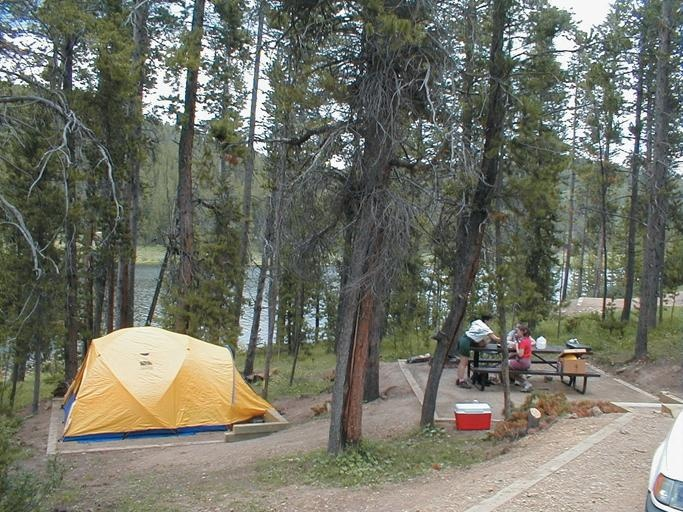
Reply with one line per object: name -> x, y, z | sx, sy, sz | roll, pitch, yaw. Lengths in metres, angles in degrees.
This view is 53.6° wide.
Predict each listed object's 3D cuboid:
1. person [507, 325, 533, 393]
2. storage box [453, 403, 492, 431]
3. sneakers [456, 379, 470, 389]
person -> 5.318, 2.989, 20.029 | 0.657, 1.915, 0.920 | 1, -3, 15
storage box -> 3.396, 4.163, 17.635 | 0.719, 0.598, 0.654 | 0, -1, 1
sneakers -> 3.688, 3.893, 20.561 | 0.169, 0.182, 0.373 | 2, -5, -30
